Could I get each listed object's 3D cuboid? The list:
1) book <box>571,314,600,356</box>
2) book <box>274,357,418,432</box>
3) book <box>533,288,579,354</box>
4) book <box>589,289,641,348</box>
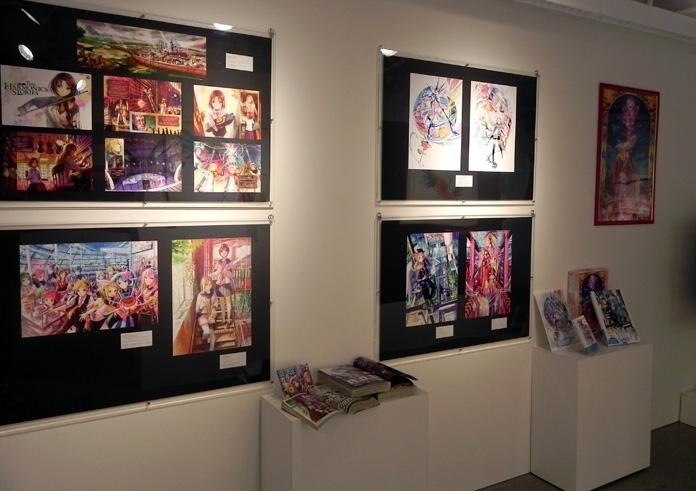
[{"bbox_3d":[1.646,0.634,3.545,0.155,0.299,0.034,-18,-13,-24],"label":"book"},{"bbox_3d":[-0.076,0.787,2.779,0.354,0.153,0.482,-7,10,-37],"label":"book"},{"bbox_3d":[1.458,0.546,3.598,0.421,0.572,0.025,-3,-16,-40],"label":"book"},{"bbox_3d":[1.879,0.518,3.694,0.346,0.386,0.087,4,-24,-29],"label":"book"}]
